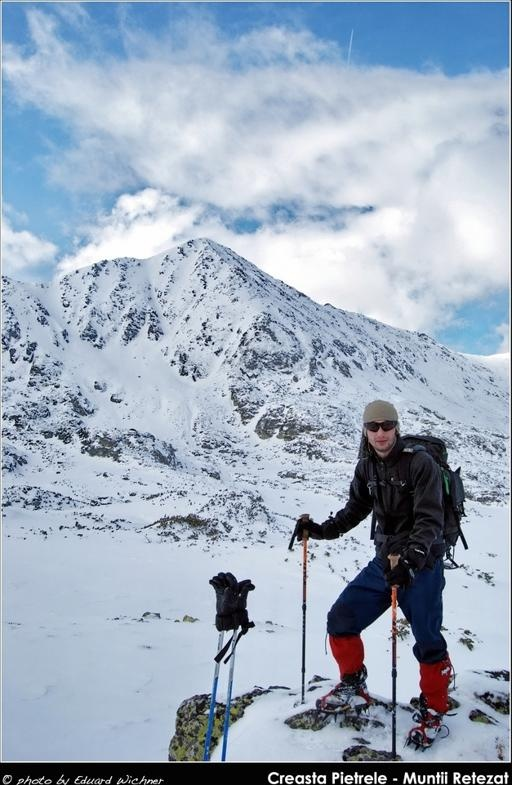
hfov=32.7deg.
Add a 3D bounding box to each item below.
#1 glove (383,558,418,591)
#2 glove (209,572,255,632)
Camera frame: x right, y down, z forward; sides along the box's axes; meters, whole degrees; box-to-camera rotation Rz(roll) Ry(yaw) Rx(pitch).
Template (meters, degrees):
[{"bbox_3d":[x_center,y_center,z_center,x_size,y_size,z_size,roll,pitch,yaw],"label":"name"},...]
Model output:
[{"bbox_3d":[1.406,1.777,8.499,0.274,0.179,0.340,2,-4,10],"label":"glove"},{"bbox_3d":[-0.257,2.170,9.124,0.620,0.674,0.656,-6,-10,-3],"label":"glove"}]
